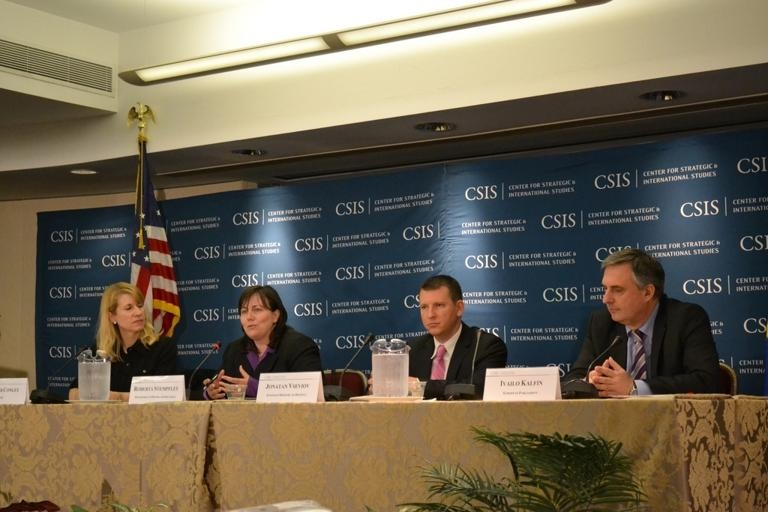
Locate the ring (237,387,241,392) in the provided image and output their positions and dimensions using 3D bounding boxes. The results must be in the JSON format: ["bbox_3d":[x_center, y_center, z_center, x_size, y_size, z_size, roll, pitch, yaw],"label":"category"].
[{"bbox_3d":[-0.630,0.586,3.010,0.016,0.027,0.017,1,-3,0],"label":"ring"}]

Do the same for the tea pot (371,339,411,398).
[{"bbox_3d":[0.023,0.454,2.796,0.146,0.221,0.181,-1,-4,-1],"label":"tea pot"}]

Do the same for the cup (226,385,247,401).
[{"bbox_3d":[-0.649,0.598,3.011,0.068,0.051,0.066,2,-9,0],"label":"cup"}]

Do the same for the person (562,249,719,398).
[{"bbox_3d":[1.470,0.367,3.850,0.521,0.934,0.572,20,-26,-33],"label":"person"}]

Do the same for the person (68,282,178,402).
[{"bbox_3d":[-1.786,0.783,4.761,0.611,1.313,0.316,-3,24,-22],"label":"person"}]

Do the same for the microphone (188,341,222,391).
[{"bbox_3d":[-1.377,0.849,5.317,0.179,0.124,0.515,2,-39,-36],"label":"microphone"}]

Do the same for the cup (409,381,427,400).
[{"bbox_3d":[0.147,0.586,2.983,0.072,0.062,0.077,0,-11,0],"label":"cup"}]
